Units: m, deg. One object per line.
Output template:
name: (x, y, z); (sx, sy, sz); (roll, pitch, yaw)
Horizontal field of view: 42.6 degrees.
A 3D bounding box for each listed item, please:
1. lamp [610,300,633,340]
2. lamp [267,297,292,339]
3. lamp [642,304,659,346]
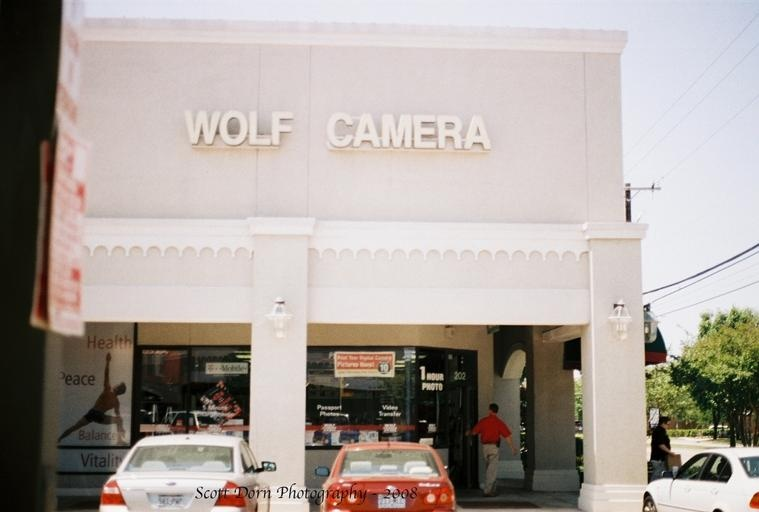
lamp: (5.163, 1.358, 20.742); (0.528, 0.833, 0.524); (-2, -8, -34)
lamp: (-2.104, 1.295, 20.229); (0.489, 0.809, 0.278); (2, 11, -1)
lamp: (5.954, 1.470, 21.560); (0.466, 0.862, 0.530); (-2, -3, 23)
